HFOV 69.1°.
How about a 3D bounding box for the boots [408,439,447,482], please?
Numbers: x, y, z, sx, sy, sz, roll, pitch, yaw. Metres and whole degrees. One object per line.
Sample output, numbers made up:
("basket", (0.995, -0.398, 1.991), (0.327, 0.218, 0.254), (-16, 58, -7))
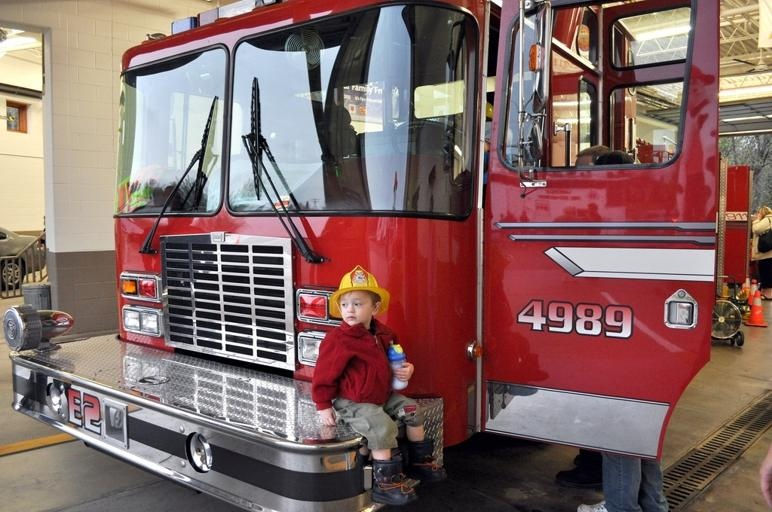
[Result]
("boots", (0.254, 1.296, 3.585), (0.249, 0.245, 0.141), (-2, 1, 23))

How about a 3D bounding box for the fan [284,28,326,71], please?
("fan", (-0.590, -1.424, 3.913), (0.269, 0.275, 0.071), (-3, 8, 28))

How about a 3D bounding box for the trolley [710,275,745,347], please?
("trolley", (5.441, 0.824, 9.012), (0.630, 1.086, 0.667), (1, -2, 35))

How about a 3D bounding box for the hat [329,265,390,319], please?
("hat", (-0.165, 0.271, 3.577), (0.300, 0.160, 0.354), (-3, -27, 3))

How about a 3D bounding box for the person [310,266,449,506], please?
("person", (-0.050, 0.766, 3.527), (0.748, 1.389, 0.489), (0, 7, 18))

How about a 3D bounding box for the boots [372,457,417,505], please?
("boots", (0.030, 1.333, 3.417), (0.325, 0.327, 0.189), (-1, 2, -1))
